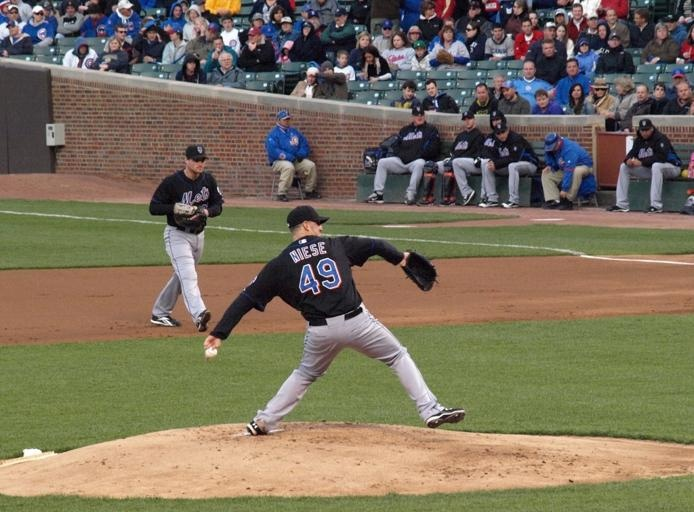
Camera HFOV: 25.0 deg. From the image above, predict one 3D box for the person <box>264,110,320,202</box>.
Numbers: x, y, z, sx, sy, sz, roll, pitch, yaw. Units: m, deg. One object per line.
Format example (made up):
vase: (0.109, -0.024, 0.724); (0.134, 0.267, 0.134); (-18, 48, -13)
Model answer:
person: (-1.292, -2.425, 38.342); (1.313, 2.176, 0.983); (-11, 22, -39)

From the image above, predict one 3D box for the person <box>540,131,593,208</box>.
person: (4.981, -1.853, 34.806); (1.238, 1.655, 1.022); (1, 5, -6)

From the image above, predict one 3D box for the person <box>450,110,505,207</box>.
person: (2.771, -2.293, 36.324); (0.834, 2.227, 1.200); (-4, -3, 31)

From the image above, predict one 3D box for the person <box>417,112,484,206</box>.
person: (1.903, -2.356, 36.799); (1.003, 2.277, 1.434); (-4, 7, -26)

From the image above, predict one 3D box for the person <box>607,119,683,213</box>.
person: (6.557, -1.919, 33.607); (1.513, 1.928, 1.158); (11, 18, 27)
